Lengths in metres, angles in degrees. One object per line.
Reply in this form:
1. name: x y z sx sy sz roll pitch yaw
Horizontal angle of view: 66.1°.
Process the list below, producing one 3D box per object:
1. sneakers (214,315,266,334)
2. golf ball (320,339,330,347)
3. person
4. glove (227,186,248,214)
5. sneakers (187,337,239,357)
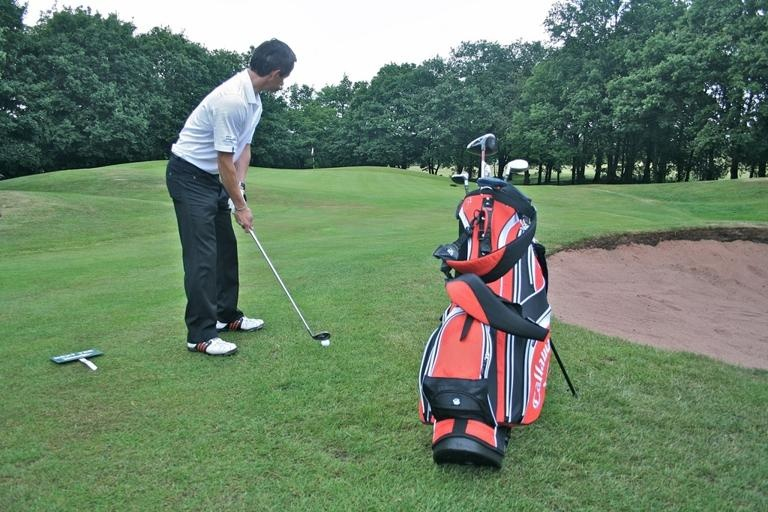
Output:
1. sneakers: -1.969 0.940 8.113 0.640 0.272 0.227 -3 0 -3
2. golf ball: -0.754 1.142 7.744 0.152 0.086 0.153 0 10 0
3. person: -2.072 -0.786 7.720 1.393 3.974 1.041 -4 12 -21
4. glove: -1.962 -0.734 7.843 0.141 0.400 0.179 -3 -20 23
5. sneakers: -2.211 1.176 7.579 0.550 0.209 0.245 0 7 1
